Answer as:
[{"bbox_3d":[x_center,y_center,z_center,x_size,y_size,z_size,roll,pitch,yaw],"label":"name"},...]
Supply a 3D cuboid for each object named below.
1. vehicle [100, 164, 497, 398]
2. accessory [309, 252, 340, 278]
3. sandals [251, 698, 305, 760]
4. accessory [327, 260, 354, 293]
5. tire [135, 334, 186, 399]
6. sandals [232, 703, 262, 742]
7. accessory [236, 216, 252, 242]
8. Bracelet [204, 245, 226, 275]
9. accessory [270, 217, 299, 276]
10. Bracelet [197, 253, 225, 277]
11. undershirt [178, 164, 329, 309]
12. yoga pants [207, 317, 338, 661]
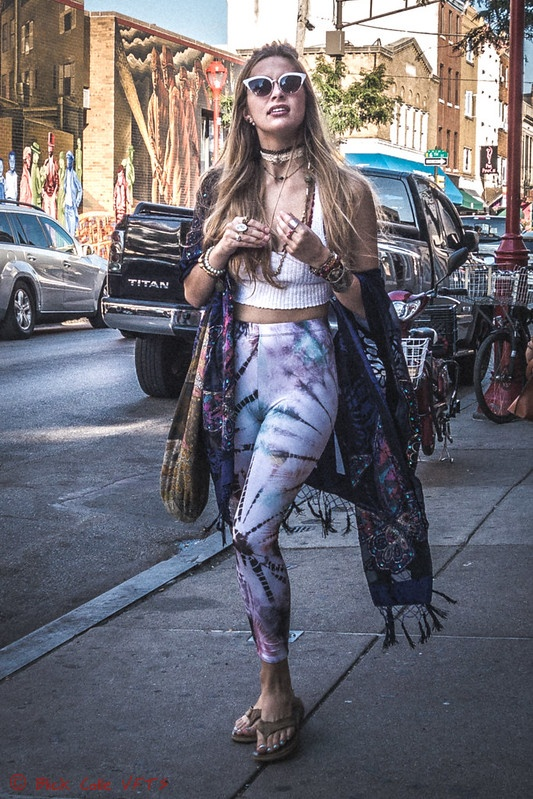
[{"bbox_3d":[0.743,-1.323,9.621,2.464,1.911,4.600,5,10,34],"label":"vehicle"},{"bbox_3d":[0.135,-0.306,1.883,0.055,0.023,0.060,-30,-1,-40],"label":"accessory"},{"bbox_3d":[0.047,0.800,1.999,0.072,0.054,0.209,5,7,14],"label":"sandals"},{"bbox_3d":[0.170,-0.285,1.878,0.053,0.069,0.054,0,-35,-5],"label":"accessory"},{"bbox_3d":[-1.151,-0.367,8.567,0.205,0.616,0.627,-1,-11,16],"label":"tire"},{"bbox_3d":[-0.053,0.823,2.002,0.044,0.048,0.116,1,-10,8],"label":"sandals"},{"bbox_3d":[-0.053,-0.388,1.817,0.020,0.064,0.023,8,-12,7],"label":"accessory"},{"bbox_3d":[-0.122,-0.338,1.961,0.028,0.069,0.056,-17,14,-38],"label":"Bracelet"},{"bbox_3d":[0.042,-0.353,1.851,0.030,0.119,0.070,17,23,-10],"label":"accessory"},{"bbox_3d":[-0.146,-0.325,1.970,0.027,0.067,0.054,-34,36,-13],"label":"Bracelet"},{"bbox_3d":[-0.055,-0.413,1.969,0.401,0.389,0.295,-1,4,23],"label":"undershirt"},{"bbox_3d":[0.050,0.229,1.980,0.293,0.845,0.216,-3,3,-3],"label":"yoga pants"}]
